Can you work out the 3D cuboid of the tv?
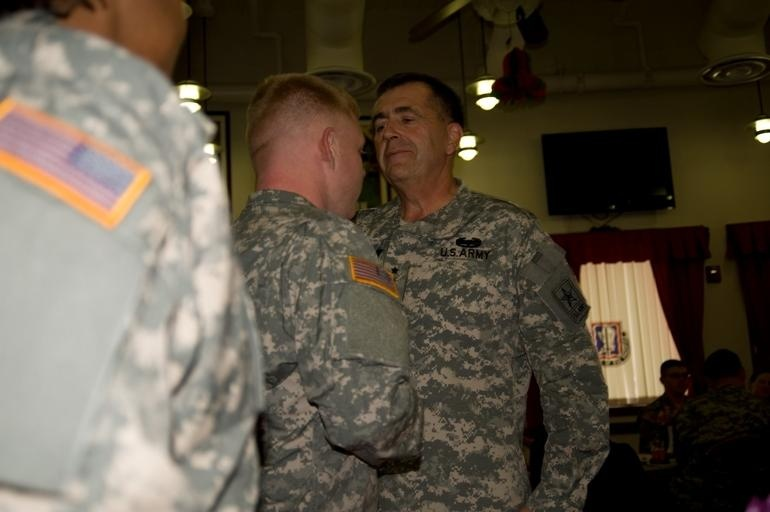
[{"bbox_3d":[2.146,-0.821,6.589,1.191,0.854,0.106,-3,-14,8],"label":"tv"}]

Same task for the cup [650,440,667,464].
[{"bbox_3d":[2.221,1.616,5.584,0.146,0.165,0.151,0,-10,0],"label":"cup"}]
